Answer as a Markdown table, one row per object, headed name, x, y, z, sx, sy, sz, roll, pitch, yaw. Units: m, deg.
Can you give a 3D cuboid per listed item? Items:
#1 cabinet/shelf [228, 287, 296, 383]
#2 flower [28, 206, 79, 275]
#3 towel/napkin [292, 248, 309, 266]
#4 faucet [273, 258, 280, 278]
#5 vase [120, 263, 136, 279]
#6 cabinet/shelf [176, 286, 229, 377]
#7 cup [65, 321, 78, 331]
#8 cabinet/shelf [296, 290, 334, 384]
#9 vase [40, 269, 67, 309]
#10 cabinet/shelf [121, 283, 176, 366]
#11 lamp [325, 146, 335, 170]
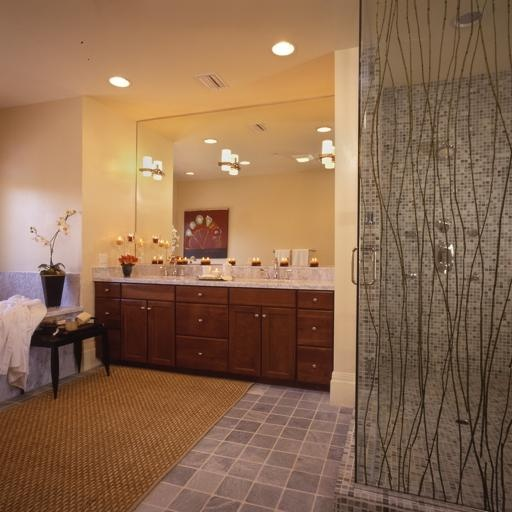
| name | x | y | z | sx | sy | sz | roll | pitch | yaw |
| --- | --- | --- | --- | --- | --- | --- | --- | --- | --- |
| cabinet/shelf | 0.097 | 0.595 | 3.627 | 0.625 | 0.954 | 0.574 | -1 | -4 | 22 |
| flower | -1.818 | -0.152 | 3.895 | 0.372 | 0.555 | 0.536 | -2 | 4 | -31 |
| towel/napkin | 0.393 | 0.003 | 3.829 | 0.134 | 0.163 | 0.019 | 2 | -1 | 31 |
| faucet | 0.175 | 0.097 | 3.918 | 0.049 | 0.188 | 0.127 | 0 | 4 | 2 |
| vase | -1.239 | 0.134 | 4.192 | 0.127 | 0.159 | 0.124 | 1 | -3 | -10 |
| cabinet/shelf | -0.444 | 0.512 | 3.752 | 0.467 | 0.789 | 0.454 | 3 | 17 | 0 |
| cup | -1.412 | 0.520 | 3.304 | 0.061 | 0.053 | 0.062 | 1 | -3 | 0 |
| cabinet/shelf | 0.467 | 0.544 | 3.371 | 0.280 | 0.778 | 0.405 | 2 | 17 | 13 |
| vase | -1.718 | 0.275 | 3.668 | 0.228 | 0.434 | 0.257 | -1 | 2 | -35 |
| cabinet/shelf | -0.926 | 0.510 | 3.960 | 0.524 | 0.783 | 0.514 | 5 | 13 | 10 |
| lamp | 0.622 | -0.850 | 3.715 | 0.088 | 0.185 | 0.033 | 3 | 5 | 39 |
